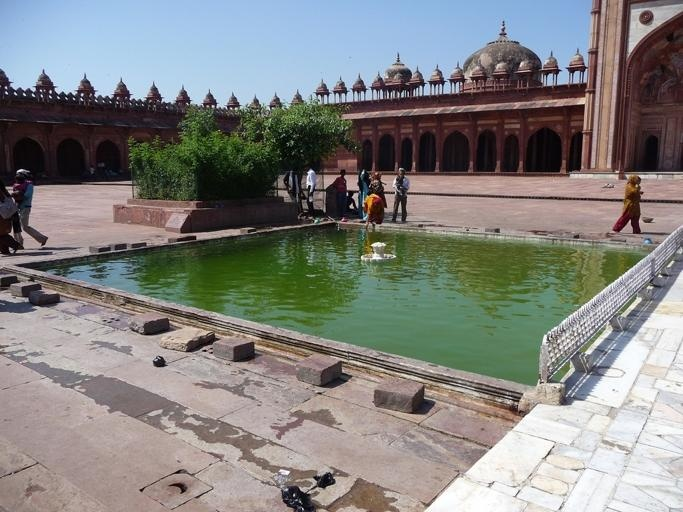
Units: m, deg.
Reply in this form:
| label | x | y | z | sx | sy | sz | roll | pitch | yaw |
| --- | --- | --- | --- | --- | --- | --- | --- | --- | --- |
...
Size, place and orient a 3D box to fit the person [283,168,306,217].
| label | x | y | z | sx | sy | sz | roll | pitch | yaw |
| --- | --- | --- | --- | --- | --- | --- | --- | --- | --- |
| person | -1.268 | -1.717 | 13.651 | 0.427 | 1.094 | 1.278 | -4 | 13 | -12 |

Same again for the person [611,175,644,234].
| label | x | y | z | sx | sy | sz | roll | pitch | yaw |
| --- | --- | --- | --- | --- | --- | --- | --- | --- | --- |
| person | 5.956 | -1.085 | 10.615 | 0.512 | 1.200 | 1.721 | 6 | 14 | 29 |
